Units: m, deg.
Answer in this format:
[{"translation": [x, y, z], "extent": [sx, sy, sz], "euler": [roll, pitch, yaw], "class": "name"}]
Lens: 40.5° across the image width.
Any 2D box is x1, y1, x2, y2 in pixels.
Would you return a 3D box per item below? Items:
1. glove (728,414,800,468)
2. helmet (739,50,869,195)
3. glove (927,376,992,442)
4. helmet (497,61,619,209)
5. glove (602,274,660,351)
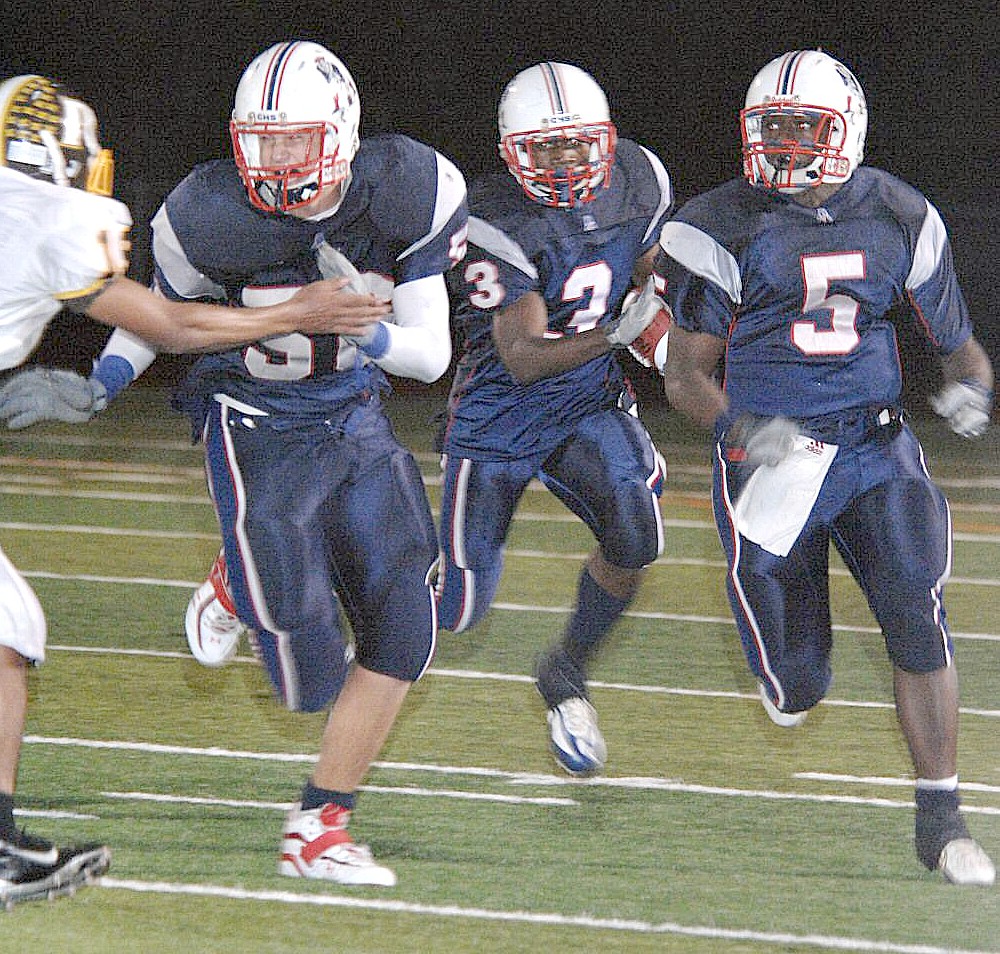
[{"translation": [0.556, -0.081, 2.815], "extent": [0.118, 0.033, 0.113], "euler": [-35, 49, -9], "class": "glove"}, {"translation": [0.674, -0.768, 2.930], "extent": [0.281, 0.255, 0.365], "euler": [9, 31, 30], "class": "helmet"}, {"translation": [0.978, -0.141, 2.902], "extent": [0.120, 0.068, 0.147], "euler": [34, 27, -11], "class": "glove"}, {"translation": [0.139, -0.890, 3.593], "extent": [0.352, 0.319, 0.371], "euler": [-10, 58, -7], "class": "helmet"}, {"translation": [0.300, -0.374, 3.071], "extent": [0.086, 0.178, 0.063], "euler": [19, 57, -11], "class": "glove"}]
